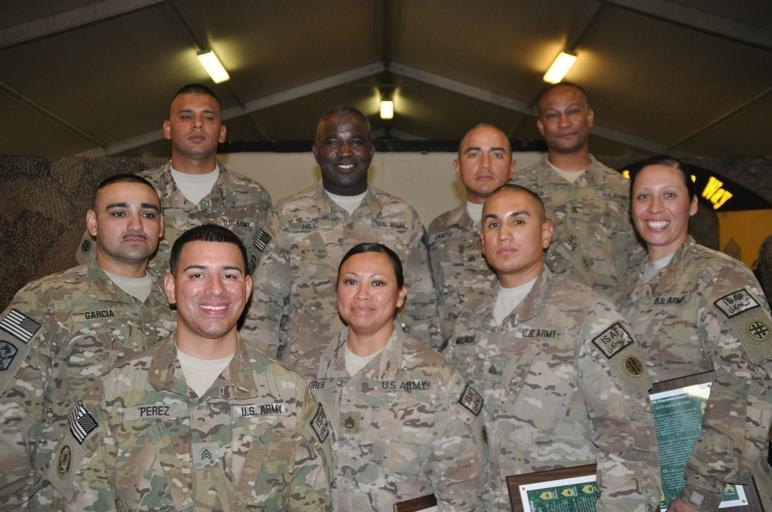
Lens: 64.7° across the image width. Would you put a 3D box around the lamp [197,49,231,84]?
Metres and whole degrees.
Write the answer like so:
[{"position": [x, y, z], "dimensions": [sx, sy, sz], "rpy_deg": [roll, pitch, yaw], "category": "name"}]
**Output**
[{"position": [-2.362, -2.588, 8.372], "dimensions": [0.225, 0.067, 0.660], "rpy_deg": [-25, -17, -2], "category": "lamp"}]
